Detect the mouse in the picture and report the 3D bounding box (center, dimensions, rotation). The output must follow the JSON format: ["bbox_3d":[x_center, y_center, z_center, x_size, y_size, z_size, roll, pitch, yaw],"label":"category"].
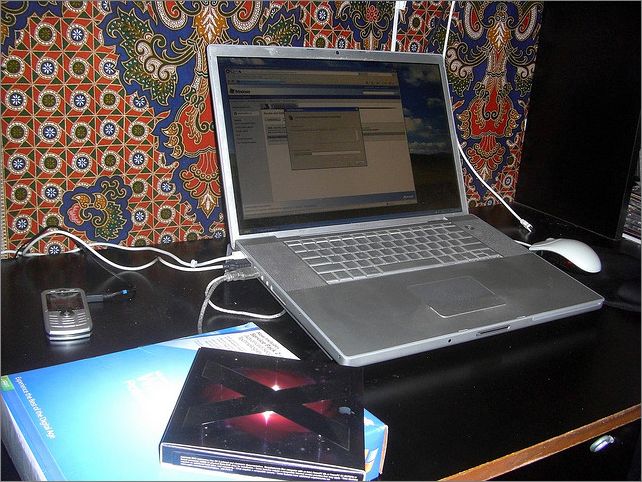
[{"bbox_3d":[0.460,0.018,0.954,0.070,0.039,0.114,-9,28,-30],"label":"mouse"}]

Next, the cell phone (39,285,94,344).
[{"bbox_3d":[-0.370,0.105,0.729,0.058,0.022,0.125,1,22,-32],"label":"cell phone"}]
